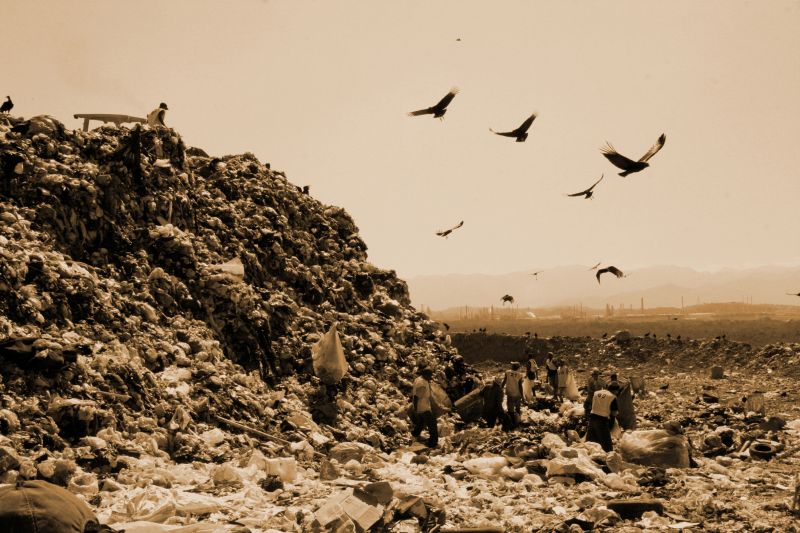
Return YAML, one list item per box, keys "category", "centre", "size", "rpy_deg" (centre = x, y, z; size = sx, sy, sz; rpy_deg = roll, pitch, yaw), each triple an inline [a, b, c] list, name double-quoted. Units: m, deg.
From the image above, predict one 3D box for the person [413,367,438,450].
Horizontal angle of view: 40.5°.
- category: "person"
  centre: [0.498, 2.815, 21.288]
  size: [0.510, 1.563, 0.817]
  rpy_deg: [-1, -7, 1]

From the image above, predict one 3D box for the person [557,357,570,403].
- category: "person"
  centre: [3.771, 2.661, 25.090]
  size: [0.270, 0.937, 0.550]
  rpy_deg: [-2, -7, 7]

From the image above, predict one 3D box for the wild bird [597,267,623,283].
- category: "wild bird"
  centre: [2.771, 0.067, 14.231]
  size: [0.352, 0.132, 0.221]
  rpy_deg: [-16, -9, -24]

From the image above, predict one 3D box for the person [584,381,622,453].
- category: "person"
  centre: [3.880, 2.905, 20.361]
  size: [0.628, 1.180, 0.532]
  rpy_deg: [5, -9, -40]
